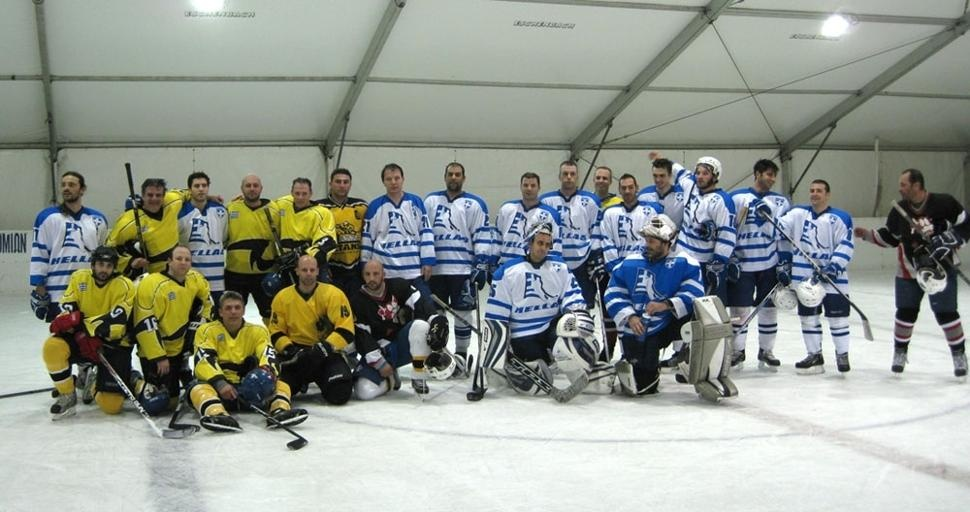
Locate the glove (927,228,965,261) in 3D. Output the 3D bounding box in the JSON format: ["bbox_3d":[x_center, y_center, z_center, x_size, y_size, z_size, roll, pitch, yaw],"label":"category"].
[{"bbox_3d":[8.010,-0.136,14.854,0.636,0.443,0.264,-1,-19,15],"label":"glove"}]

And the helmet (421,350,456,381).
[{"bbox_3d":[-0.652,1.824,14.552,0.451,0.516,0.546,-21,11,-32],"label":"helmet"}]

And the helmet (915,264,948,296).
[{"bbox_3d":[7.766,0.424,14.790,0.501,0.511,0.340,0,-1,25],"label":"helmet"}]

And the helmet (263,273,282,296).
[{"bbox_3d":[-3.746,0.482,15.083,0.488,0.421,0.250,0,-1,31],"label":"helmet"}]

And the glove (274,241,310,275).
[{"bbox_3d":[-3.406,0.018,15.205,0.641,0.514,0.399,0,-1,6],"label":"glove"}]

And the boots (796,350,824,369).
[{"bbox_3d":[5.873,1.868,15.428,0.635,0.243,0.221,-1,0,5],"label":"boots"}]

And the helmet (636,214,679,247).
[{"bbox_3d":[2.980,-0.457,14.610,0.642,0.506,0.440,-5,9,-12],"label":"helmet"}]

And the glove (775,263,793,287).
[{"bbox_3d":[5.565,0.329,15.693,0.386,0.368,0.284,11,36,33],"label":"glove"}]

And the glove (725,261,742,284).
[{"bbox_3d":[4.541,0.291,15.580,0.296,0.377,0.396,-2,4,8],"label":"glove"}]

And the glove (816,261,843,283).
[{"bbox_3d":[6.250,0.260,15.440,0.400,0.382,0.177,-31,-21,-24],"label":"glove"}]

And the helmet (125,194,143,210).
[{"bbox_3d":[-6.158,-0.983,14.990,0.278,0.133,0.357,-14,3,-39],"label":"helmet"}]

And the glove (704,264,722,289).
[{"bbox_3d":[4.223,0.362,15.515,0.344,0.419,0.423,-5,-36,17],"label":"glove"}]

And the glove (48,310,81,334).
[{"bbox_3d":[-6.871,1.093,14.037,0.488,0.407,0.249,0,-1,-12],"label":"glove"}]

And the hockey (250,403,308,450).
[{"bbox_3d":[-3.149,2.679,13.354,0.403,0.123,1.629,-38,33,-29],"label":"hockey"}]

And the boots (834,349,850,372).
[{"bbox_3d":[6.379,1.851,15.169,0.165,0.190,0.469,-12,19,19],"label":"boots"}]

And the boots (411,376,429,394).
[{"bbox_3d":[-1.087,2.190,14.563,0.277,0.295,0.258,0,-1,-5],"label":"boots"}]

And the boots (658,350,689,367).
[{"bbox_3d":[3.283,1.756,14.595,0.196,0.221,0.558,3,-5,-33],"label":"boots"}]

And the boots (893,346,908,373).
[{"bbox_3d":[7.343,1.809,15.025,0.146,0.459,0.253,3,-13,43],"label":"boots"}]

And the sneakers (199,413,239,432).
[{"bbox_3d":[-4.127,2.662,13.545,0.697,0.268,0.242,17,-22,-9],"label":"sneakers"}]

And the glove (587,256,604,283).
[{"bbox_3d":[2.130,0.230,16.212,0.345,0.438,0.150,3,11,34],"label":"glove"}]

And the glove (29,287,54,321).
[{"bbox_3d":[-7.710,0.859,14.918,0.268,0.747,0.348,10,-33,-45],"label":"glove"}]
